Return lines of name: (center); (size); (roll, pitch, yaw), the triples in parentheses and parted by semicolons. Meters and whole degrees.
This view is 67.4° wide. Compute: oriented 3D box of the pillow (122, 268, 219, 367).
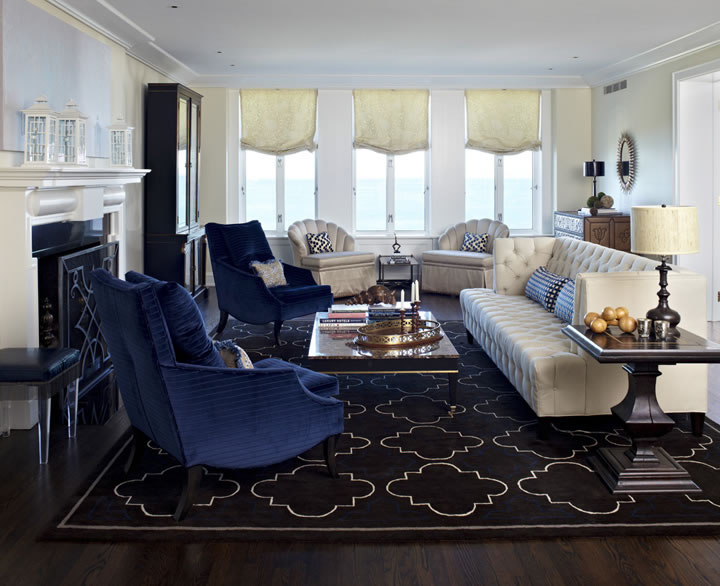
pillow: (-0.766, 0.143, 2.468); (0.131, 0.413, 0.411); (-33, 26, -32)

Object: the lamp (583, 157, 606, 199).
lamp: (3.563, -1.745, 8.181); (0.289, 0.591, 0.812); (4, 10, 23)

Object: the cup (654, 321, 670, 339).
cup: (1.543, 0.186, 2.760); (0.092, 0.097, 0.084); (4, -6, -32)

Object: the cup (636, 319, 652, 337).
cup: (1.491, 0.187, 2.828); (0.089, 0.094, 0.089); (1, -5, 0)

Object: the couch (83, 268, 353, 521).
couch: (-0.681, 0.441, 2.652); (1.162, 1.078, 0.636); (-3, 10, -16)

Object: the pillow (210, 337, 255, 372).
pillow: (-0.685, 0.358, 2.957); (0.193, 0.095, 0.250); (16, 10, -28)
